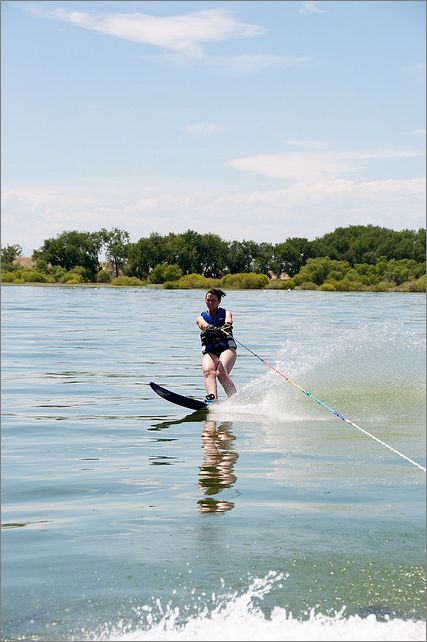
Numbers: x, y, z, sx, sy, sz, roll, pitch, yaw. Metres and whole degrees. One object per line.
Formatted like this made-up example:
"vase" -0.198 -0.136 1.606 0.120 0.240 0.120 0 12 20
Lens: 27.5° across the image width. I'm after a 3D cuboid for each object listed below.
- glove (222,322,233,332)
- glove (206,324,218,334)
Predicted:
"glove" 0.174 0.083 10.656 0.125 0.044 0.122 -22 25 -40
"glove" -0.017 0.100 10.680 0.085 0.103 0.142 -3 4 -35
